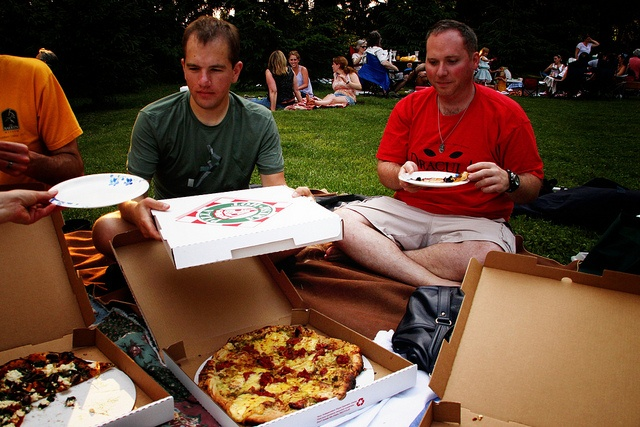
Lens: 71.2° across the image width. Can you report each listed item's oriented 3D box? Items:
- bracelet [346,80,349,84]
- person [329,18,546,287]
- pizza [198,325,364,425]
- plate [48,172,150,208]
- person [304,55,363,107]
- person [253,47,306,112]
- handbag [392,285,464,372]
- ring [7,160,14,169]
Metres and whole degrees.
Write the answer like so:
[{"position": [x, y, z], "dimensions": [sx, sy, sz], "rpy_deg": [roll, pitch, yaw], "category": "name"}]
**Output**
[{"position": [0.846, -4.033, 13.712], "dimensions": [0.074, 0.049, 0.069], "rpy_deg": [-3, -12, 42], "category": "bracelet"}, {"position": [1.008, -0.488, 3.541], "dimensions": [1.429, 1.939, 1.141], "rpy_deg": [12, 26, 20], "category": "person"}, {"position": [-0.211, 0.845, 2.427], "dimensions": [0.845, 0.110, 0.690], "rpy_deg": [-10, 26, -28], "category": "pizza"}, {"position": [-1.383, -0.138, 2.727], "dimensions": [0.351, 0.025, 0.345], "rpy_deg": [13, 22, 17], "category": "plate"}, {"position": [0.463, -3.993, 13.547], "dimensions": [1.130, 1.549, 1.889], "rpy_deg": [13, 18, 42], "category": "person"}, {"position": [-1.282, -3.742, 12.725], "dimensions": [1.623, 1.493, 1.040], "rpy_deg": [-15, 25, -26], "category": "person"}, {"position": [0.676, 0.671, 2.760], "dimensions": [0.391, 0.196, 0.496], "rpy_deg": [6, 54, 40], "category": "handbag"}, {"position": [-2.058, -0.323, 2.950], "dimensions": [0.042, 0.050, 0.020], "rpy_deg": [5, 24, 6], "category": "ring"}]
